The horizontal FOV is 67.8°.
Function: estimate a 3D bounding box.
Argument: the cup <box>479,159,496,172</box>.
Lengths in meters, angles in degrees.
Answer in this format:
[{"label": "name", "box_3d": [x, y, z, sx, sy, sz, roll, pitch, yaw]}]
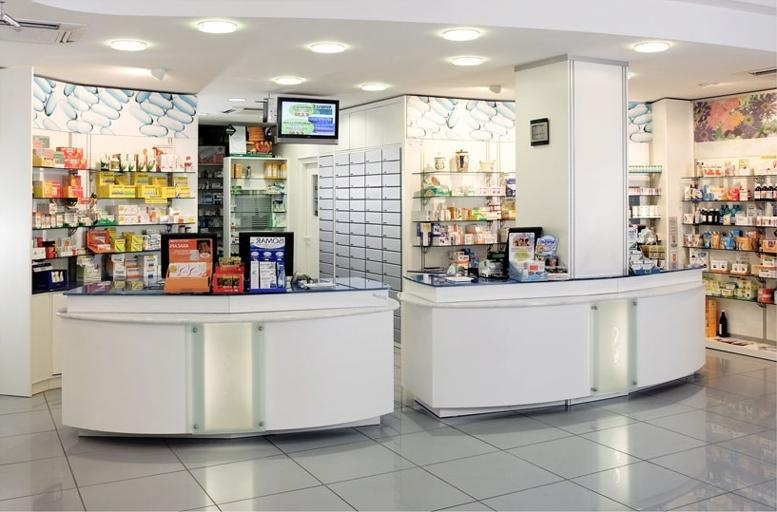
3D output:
[{"label": "cup", "box_3d": [1.552, -1.421, 9.107, 0.227, 0.175, 0.282, 1, 10, 9]}]

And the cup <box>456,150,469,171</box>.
[{"label": "cup", "box_3d": [1.141, -1.481, 8.991, 0.202, 0.324, 0.312, 2, 10, 12]}]

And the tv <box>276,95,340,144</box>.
[{"label": "tv", "box_3d": [-1.169, -1.954, 8.329, 0.839, 0.550, 0.105, 0, 1, -11]}]

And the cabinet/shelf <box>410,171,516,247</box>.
[{"label": "cabinet/shelf", "box_3d": [1.152, -0.739, 8.890, 1.580, 1.097, 0.518, 0, 10, 1]}]

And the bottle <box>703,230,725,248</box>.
[{"label": "bottle", "box_3d": [5.127, -0.249, 9.199, 0.300, 0.260, 0.211, -1, 4, -8]}]

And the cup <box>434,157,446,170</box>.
[{"label": "cup", "box_3d": [0.787, -1.412, 8.828, 0.200, 0.178, 0.191, -1, 5, 0]}]

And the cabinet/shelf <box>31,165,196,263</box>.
[{"label": "cabinet/shelf", "box_3d": [-3.694, -0.645, 7.933, 2.021, 0.899, 0.267, -2, 27, -34]}]

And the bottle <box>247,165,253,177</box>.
[{"label": "bottle", "box_3d": [-2.791, -1.700, 11.691, 0.103, 0.227, 0.046, -4, 10, -21]}]
